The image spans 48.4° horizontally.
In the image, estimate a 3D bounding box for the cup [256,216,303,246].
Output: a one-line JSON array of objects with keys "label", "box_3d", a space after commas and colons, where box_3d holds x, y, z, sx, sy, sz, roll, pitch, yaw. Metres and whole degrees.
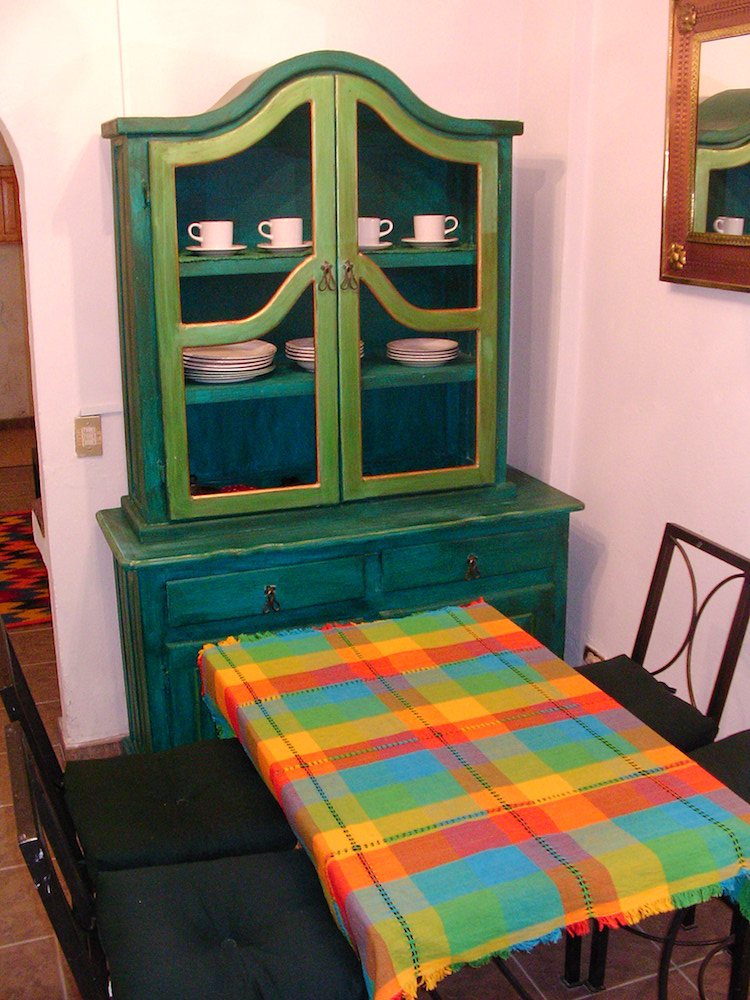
[{"label": "cup", "box_3d": [-0.238, -0.680, 2.106, 0.103, 0.063, 0.064, -16, 31, -29]}]

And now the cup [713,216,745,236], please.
[{"label": "cup", "box_3d": [0.821, -0.637, 1.933, 0.057, 0.039, 0.036, -22, 32, -30]}]

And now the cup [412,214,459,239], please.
[{"label": "cup", "box_3d": [0.161, -0.737, 2.250, 0.104, 0.064, 0.065, -3, 16, -14]}]

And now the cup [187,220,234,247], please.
[{"label": "cup", "box_3d": [-0.401, -0.653, 2.044, 0.096, 0.060, 0.059, -17, 32, -33]}]
